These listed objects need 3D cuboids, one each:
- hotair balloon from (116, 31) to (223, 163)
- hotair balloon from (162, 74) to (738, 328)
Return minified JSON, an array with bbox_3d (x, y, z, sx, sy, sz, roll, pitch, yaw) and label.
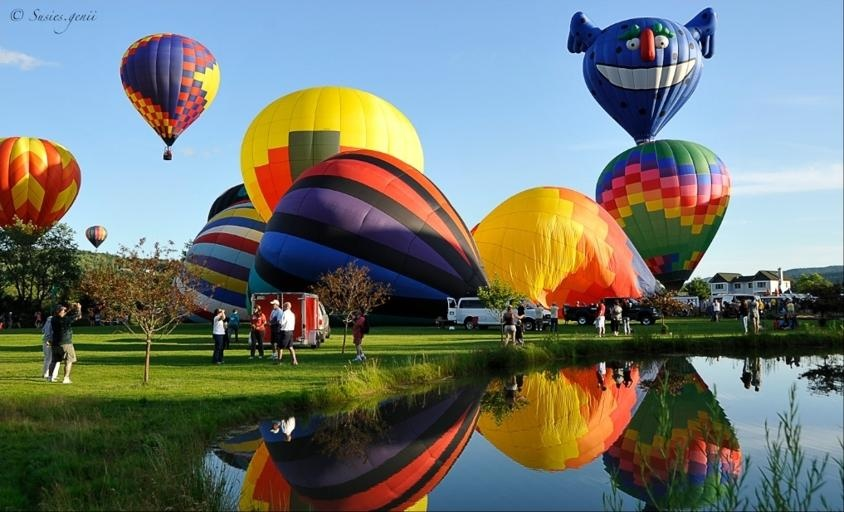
[{"bbox_3d":[-16.592,-10.444,43.353,5.643,7.975,5.878,1,6,0],"label":"hotair balloon"},{"bbox_3d":[-9.346,-5.391,61.733,48.745,18.543,13.451,2,0,-4],"label":"hotair balloon"}]
